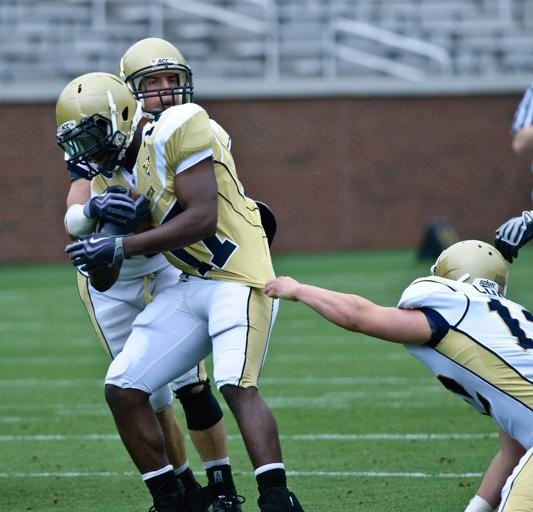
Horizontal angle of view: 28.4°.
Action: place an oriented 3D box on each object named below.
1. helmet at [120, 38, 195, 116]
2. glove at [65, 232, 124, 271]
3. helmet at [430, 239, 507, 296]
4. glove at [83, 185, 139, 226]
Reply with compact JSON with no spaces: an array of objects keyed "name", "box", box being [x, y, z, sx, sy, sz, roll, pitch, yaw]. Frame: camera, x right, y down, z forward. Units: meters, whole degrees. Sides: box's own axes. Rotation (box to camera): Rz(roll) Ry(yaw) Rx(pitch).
[{"name":"helmet","box":[-0.506,-0.848,4.976,0.296,0.329,0.378,-12,14,-24]},{"name":"glove","box":[-0.719,-0.020,4.456,0.169,0.177,0.084,-19,-23,12]},{"name":"helmet","box":[0.913,0.050,4.574,0.276,0.294,0.215,2,-6,42]},{"name":"glove","box":[-0.665,-0.197,4.513,0.188,0.082,0.156,-27,50,12]}]
